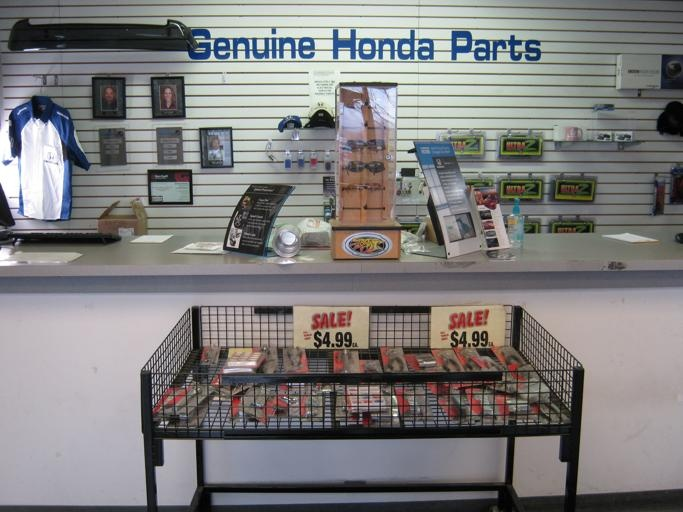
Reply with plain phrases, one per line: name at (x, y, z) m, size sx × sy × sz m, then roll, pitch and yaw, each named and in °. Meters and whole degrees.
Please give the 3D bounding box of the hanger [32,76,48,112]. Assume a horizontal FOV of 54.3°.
hanger at (-3.311, -1.791, 7.354) m, size 0.159 × 0.432 × 0.193 m, roll -5°, pitch 8°, yaw -13°

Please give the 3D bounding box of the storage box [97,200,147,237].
storage box at (-2.380, -0.408, 7.251) m, size 0.524 × 0.454 × 0.387 m, roll 0°, pitch 2°, yaw -7°

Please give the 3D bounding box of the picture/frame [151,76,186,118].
picture/frame at (-1.924, -1.782, 7.399) m, size 0.498 × 0.541 × 0.040 m, roll -1°, pitch 7°, yaw -8°

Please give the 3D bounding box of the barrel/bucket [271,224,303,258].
barrel/bucket at (-0.339, -0.102, 4.382) m, size 0.218 × 0.211 × 0.159 m, roll -7°, pitch 9°, yaw -30°

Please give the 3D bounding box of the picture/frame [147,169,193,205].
picture/frame at (-1.935, -0.801, 7.545) m, size 0.422 × 0.311 × 0.054 m, roll 0°, pitch 3°, yaw -1°

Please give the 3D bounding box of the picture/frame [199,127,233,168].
picture/frame at (-1.400, -1.236, 7.484) m, size 0.489 × 0.512 × 0.071 m, roll -1°, pitch 4°, yaw -4°
